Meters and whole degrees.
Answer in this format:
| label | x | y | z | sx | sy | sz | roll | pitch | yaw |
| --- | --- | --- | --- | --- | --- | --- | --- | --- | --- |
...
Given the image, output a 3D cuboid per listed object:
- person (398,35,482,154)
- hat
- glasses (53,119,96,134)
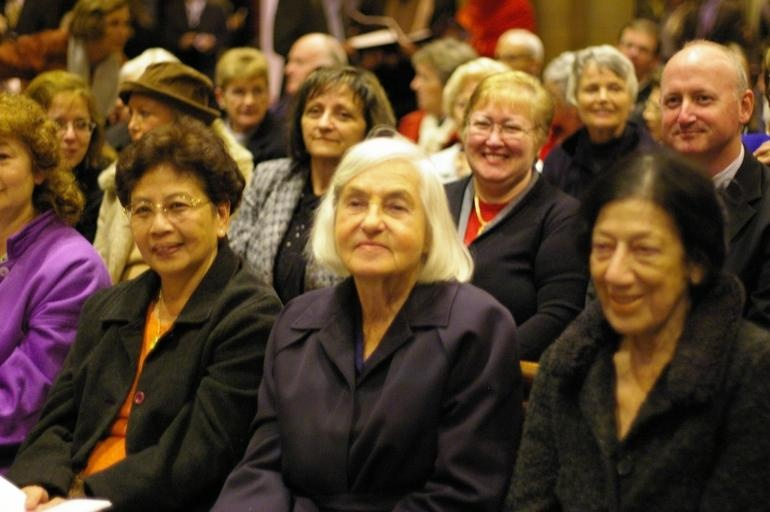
| label | x | y | z | sx | sy | sz | roll | pitch | yaw |
| --- | --- | --- | --- | --- | --- | --- | --- | --- | --- |
| person | 0.563 | -1.450 | 7.029 | 0.610 | 0.892 | 1.050 | 0 | 12 | 4 |
| hat | -1.586 | -1.170 | 5.875 | 0.579 | 0.233 | 0.653 | 11 | -16 | 23 |
| glasses | -2.432 | -1.027 | 6.121 | 0.173 | 0.052 | 0.177 | -5 | -3 | 45 |
